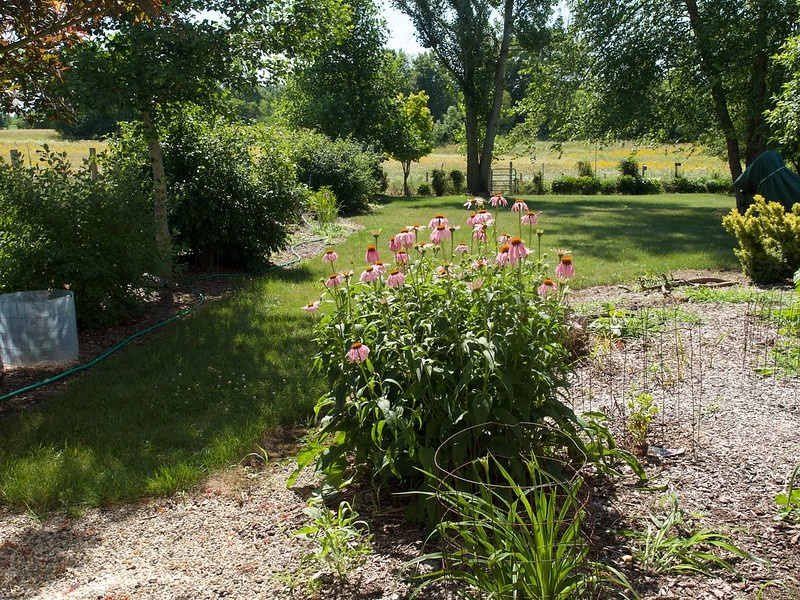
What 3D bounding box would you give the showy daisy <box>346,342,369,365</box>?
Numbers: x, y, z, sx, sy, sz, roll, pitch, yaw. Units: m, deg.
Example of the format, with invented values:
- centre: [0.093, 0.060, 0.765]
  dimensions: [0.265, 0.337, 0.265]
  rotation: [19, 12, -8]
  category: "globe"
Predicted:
- centre: [-0.307, 0.378, 5.590]
  dimensions: [0.130, 0.165, 0.200]
  rotation: [-5, 10, -8]
  category: "showy daisy"
